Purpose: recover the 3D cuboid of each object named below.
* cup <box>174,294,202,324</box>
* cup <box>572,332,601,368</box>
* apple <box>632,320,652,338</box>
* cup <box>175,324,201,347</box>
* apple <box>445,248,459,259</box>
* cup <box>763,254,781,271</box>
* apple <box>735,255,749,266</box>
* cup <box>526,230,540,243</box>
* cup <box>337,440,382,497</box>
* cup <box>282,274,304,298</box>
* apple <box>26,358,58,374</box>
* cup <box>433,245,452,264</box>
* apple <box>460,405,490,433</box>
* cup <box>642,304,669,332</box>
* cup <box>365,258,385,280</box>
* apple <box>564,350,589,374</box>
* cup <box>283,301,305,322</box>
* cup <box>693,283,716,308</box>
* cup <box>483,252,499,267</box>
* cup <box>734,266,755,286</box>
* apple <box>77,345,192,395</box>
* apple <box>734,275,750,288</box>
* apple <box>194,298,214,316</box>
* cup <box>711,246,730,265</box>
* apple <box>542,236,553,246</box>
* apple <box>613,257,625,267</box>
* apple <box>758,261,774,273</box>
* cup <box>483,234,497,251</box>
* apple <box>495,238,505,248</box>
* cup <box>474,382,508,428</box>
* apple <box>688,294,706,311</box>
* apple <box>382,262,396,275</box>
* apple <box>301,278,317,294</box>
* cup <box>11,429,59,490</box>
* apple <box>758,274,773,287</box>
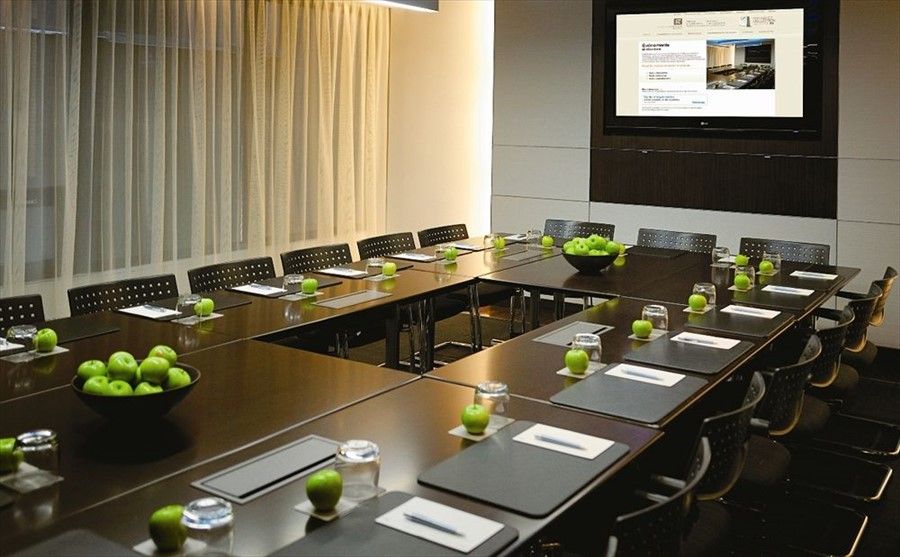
[{"bbox_3d":[-1.584,0.186,3.719,0.151,0.163,0.164,0,6,0],"label":"cup"},{"bbox_3d":[0.703,0.365,3.149,0.140,0.142,0.145,-1,5,0],"label":"cup"},{"bbox_3d":[1.081,0.280,3.493,0.092,0.120,0.097,0,2,-10],"label":"apple"},{"bbox_3d":[-1.444,0.316,3.403,0.098,0.077,0.101,2,11,0],"label":"cup"},{"bbox_3d":[0.014,-0.201,5.170,0.090,0.093,0.088,-4,-3,31],"label":"apple"},{"bbox_3d":[2.574,-0.138,4.934,0.134,0.138,0.138,-2,6,0],"label":"cup"},{"bbox_3d":[2.354,-0.142,4.987,0.075,0.093,0.078,-15,-11,-16],"label":"apple"},{"bbox_3d":[0.804,-0.403,5.857,0.099,0.120,0.131,-4,1,-25],"label":"cup"},{"bbox_3d":[-0.321,0.694,2.209,0.153,0.170,0.166,-1,0,0],"label":"cup"},{"bbox_3d":[-1.089,0.057,4.252,0.133,0.106,0.138,1,4,0],"label":"cup"},{"bbox_3d":[-1.976,0.434,3.022,0.075,0.076,0.076,6,7,42],"label":"apple"},{"bbox_3d":[-0.066,-0.212,5.386,0.153,0.159,0.150,-1,4,0],"label":"cup"},{"bbox_3d":[0.101,0.580,2.563,0.103,0.125,0.109,-1,2,-2],"label":"apple"},{"bbox_3d":[1.198,0.227,3.646,0.148,0.149,0.152,-2,7,0],"label":"cup"},{"bbox_3d":[-0.571,-0.065,4.757,0.144,0.177,0.150,1,2,0],"label":"cup"},{"bbox_3d":[0.625,0.415,3.097,0.109,0.122,0.108,-7,6,-43],"label":"apple"},{"bbox_3d":[-0.961,0.206,3.801,0.102,0.076,0.102,0,5,0],"label":"cup"},{"bbox_3d":[1.687,0.114,4.098,0.152,0.157,0.156,-1,2,0],"label":"cup"},{"bbox_3d":[0.343,-0.158,5.275,0.111,0.133,0.112,2,2,0],"label":"cup"},{"bbox_3d":[2.187,-0.016,4.589,0.157,0.166,0.162,0,2,0],"label":"cup"},{"bbox_3d":[-1.299,0.400,2.515,0.274,0.123,0.261,1,0,36],"label":"apple"},{"bbox_3d":[2.102,0.011,4.472,0.094,0.097,0.095,-9,8,-24],"label":"apple"},{"bbox_3d":[-1.464,0.181,3.680,0.097,0.101,0.100,-11,10,-23],"label":"apple"},{"bbox_3d":[2.228,-0.184,5.104,0.131,0.136,0.141,-2,7,0],"label":"cup"},{"bbox_3d":[0.909,-0.348,5.778,0.091,0.086,0.089,0,-3,32],"label":"apple"},{"bbox_3d":[1.464,-0.142,5.342,0.099,0.058,0.102,1,10,31],"label":"apple"},{"bbox_3d":[2.490,-0.085,4.865,0.091,0.098,0.095,-11,12,19],"label":"apple"},{"bbox_3d":[0.374,-0.342,5.810,0.088,0.155,0.147,6,5,31],"label":"cup"},{"bbox_3d":[0.466,-0.320,5.682,0.090,0.092,0.092,-8,-1,-8],"label":"apple"},{"bbox_3d":[0.179,0.521,2.574,0.152,0.178,0.158,0,3,0],"label":"cup"},{"bbox_3d":[1.576,0.159,3.937,0.097,0.099,0.098,5,14,42],"label":"apple"},{"bbox_3d":[-0.469,-0.079,4.682,0.085,0.084,0.087,-3,-8,3],"label":"apple"},{"bbox_3d":[-0.941,0.053,4.174,0.096,0.121,0.101,-8,13,-7],"label":"apple"},{"bbox_3d":[-1.434,0.630,2.163,0.160,0.186,0.167,1,0,0],"label":"cup"},{"bbox_3d":[2.408,0.020,4.717,0.074,0.070,0.072,-8,8,-39],"label":"apple"}]
